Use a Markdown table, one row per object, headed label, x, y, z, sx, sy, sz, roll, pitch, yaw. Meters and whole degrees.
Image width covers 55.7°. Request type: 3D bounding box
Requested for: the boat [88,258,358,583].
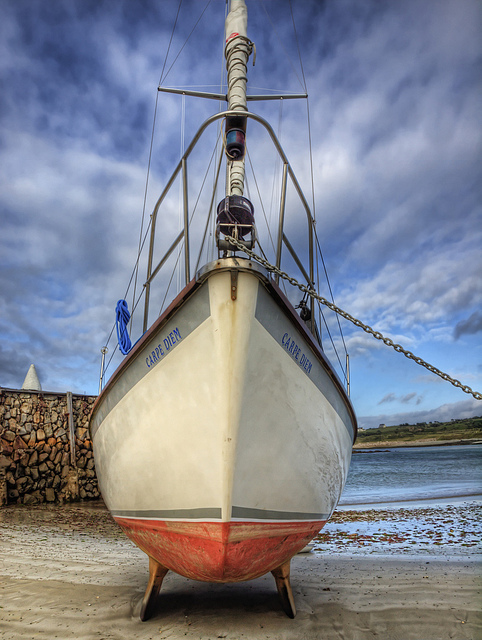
| label | x | y | z | sx | sy | sz | roll | pitch | yaw |
| --- | --- | --- | --- | --- | --- | --- | --- | --- | --- |
| boat | -0.094 | 0.761 | 3.209 | 1.208 | 1.212 | 3.288 | -1 | -33 | -1 |
